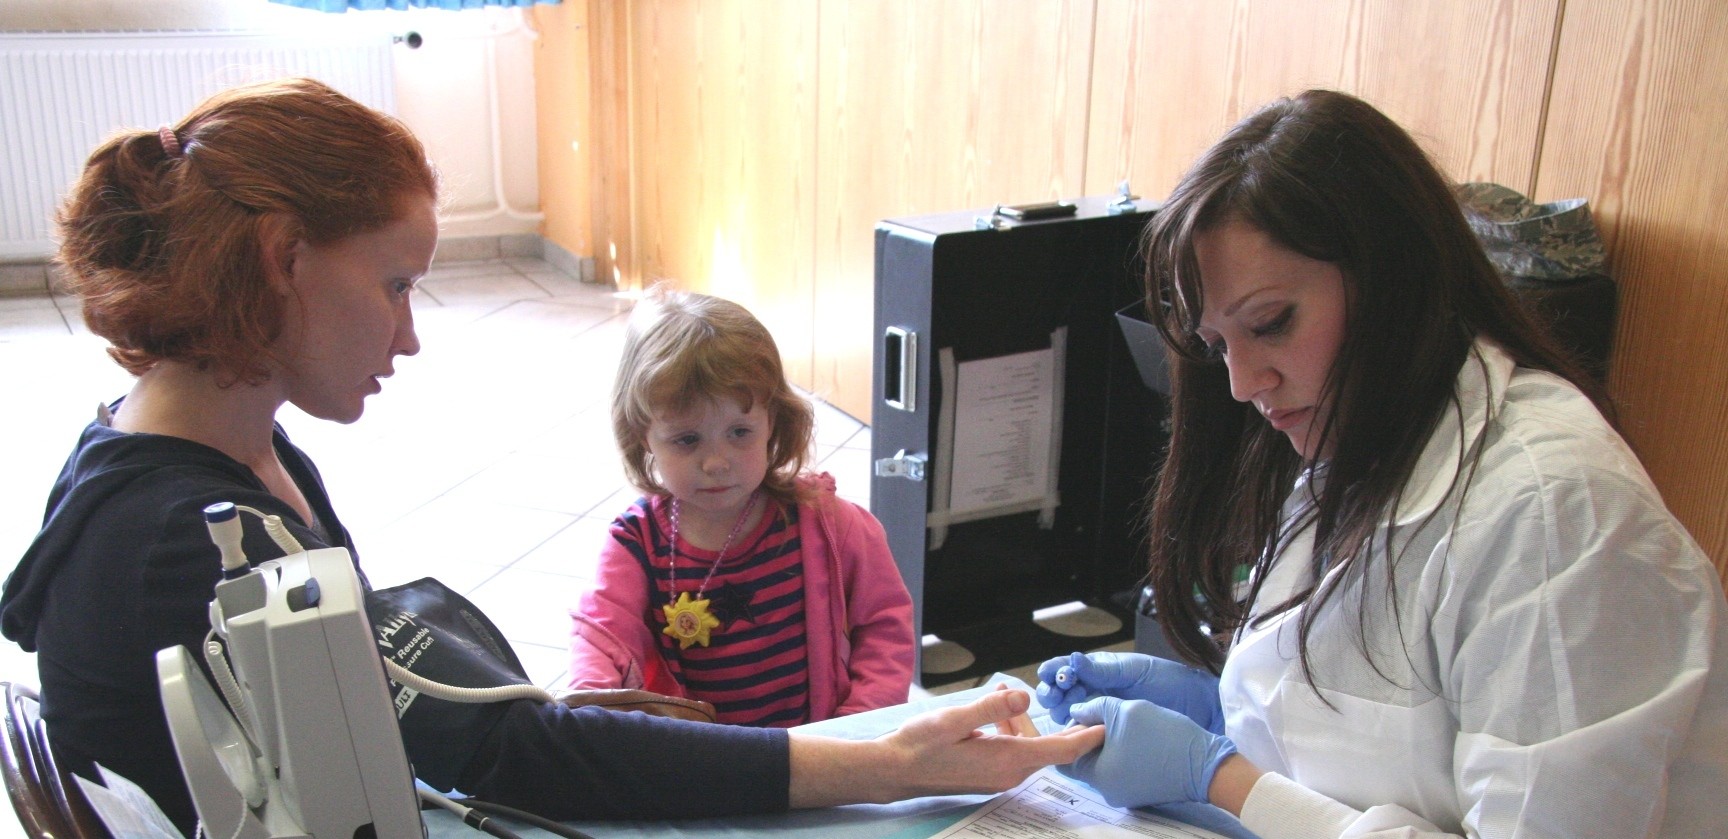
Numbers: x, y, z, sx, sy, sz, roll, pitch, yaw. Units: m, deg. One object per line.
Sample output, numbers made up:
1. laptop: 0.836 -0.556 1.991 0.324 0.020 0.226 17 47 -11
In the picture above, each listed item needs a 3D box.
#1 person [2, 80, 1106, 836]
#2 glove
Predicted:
1. person: -0.915 0.063 2.415 1.681 1.516 0.571 -5 12 -7
2. glove: 0.583 0.644 2.552 0.380 0.257 0.531 15 0 5
